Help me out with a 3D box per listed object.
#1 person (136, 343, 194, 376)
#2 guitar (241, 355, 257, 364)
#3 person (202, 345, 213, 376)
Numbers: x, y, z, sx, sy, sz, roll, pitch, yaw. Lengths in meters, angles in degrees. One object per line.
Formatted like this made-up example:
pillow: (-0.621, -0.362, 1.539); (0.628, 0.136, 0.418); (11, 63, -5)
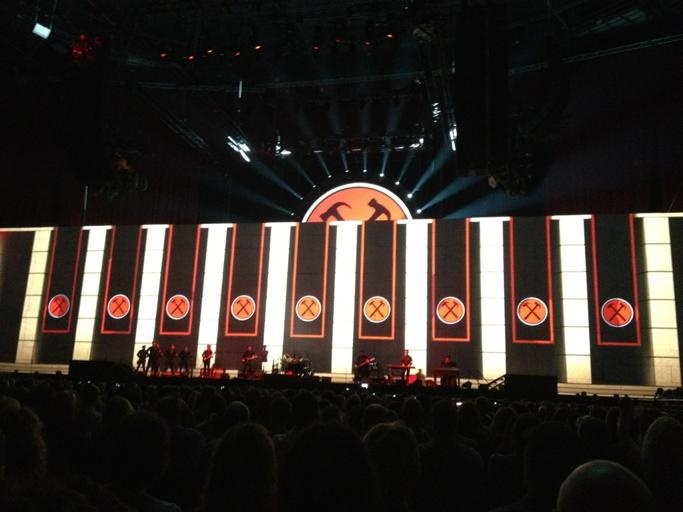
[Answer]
person: (-7.856, 4.611, 28.288); (1.654, 1.187, 0.547); (0, -14, -9)
guitar: (-3.934, 4.412, 27.153); (0.551, 0.250, 0.772); (0, -2, 10)
person: (-5.995, 4.632, 28.098); (0.513, 1.245, 0.132); (2, -7, 20)
